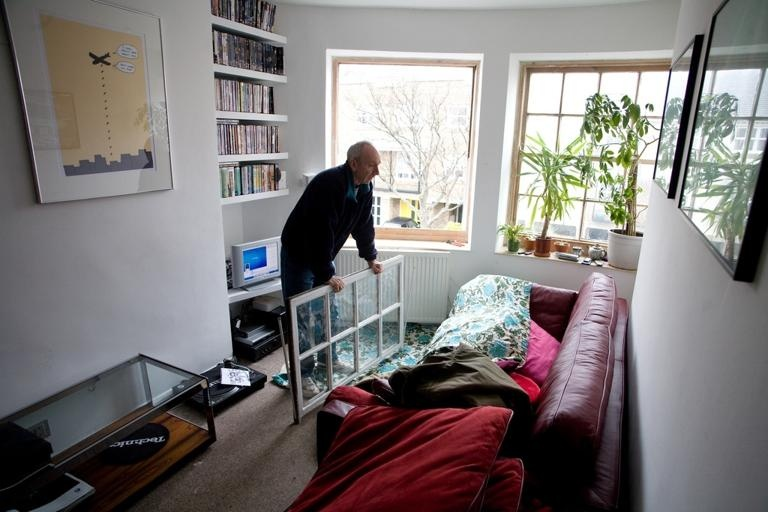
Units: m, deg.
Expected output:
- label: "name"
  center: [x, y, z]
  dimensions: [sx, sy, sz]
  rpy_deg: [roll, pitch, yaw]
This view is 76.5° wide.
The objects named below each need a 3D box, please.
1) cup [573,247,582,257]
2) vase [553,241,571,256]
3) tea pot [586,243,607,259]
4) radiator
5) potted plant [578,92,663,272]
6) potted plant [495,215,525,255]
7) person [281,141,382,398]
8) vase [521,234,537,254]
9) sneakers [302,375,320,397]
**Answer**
- label: "cup"
  center: [1.798, -0.035, 4.555]
  dimensions: [0.100, 0.099, 0.061]
  rpy_deg: [4, 9, 20]
- label: "vase"
  center: [1.709, -0.073, 4.657]
  dimensions: [0.130, 0.089, 0.129]
  rpy_deg: [0, 3, 3]
- label: "tea pot"
  center: [1.940, -0.047, 4.486]
  dimensions: [0.154, 0.122, 0.121]
  rpy_deg: [13, 20, 41]
- label: "radiator"
  center: [0.157, 0.291, 4.685]
  dimensions: [1.129, 0.747, 0.111]
  rpy_deg: [5, -27, -34]
- label: "potted plant"
  center: [1.998, -0.658, 4.308]
  dimensions: [0.628, 1.466, 0.604]
  rpy_deg: [9, 16, 25]
- label: "potted plant"
  center: [1.177, -0.168, 4.690]
  dimensions: [0.294, 0.274, 0.291]
  rpy_deg: [0, 5, 1]
- label: "person"
  center: [-0.448, 0.101, 3.886]
  dimensions: [0.758, 2.014, 0.763]
  rpy_deg: [19, 26, 27]
- label: "vase"
  center: [1.384, -0.113, 4.673]
  dimensions: [0.159, 0.179, 0.160]
  rpy_deg: [3, 5, 29]
- label: "sneakers"
  center: [-0.532, 0.952, 3.594]
  dimensions: [0.167, 0.148, 0.101]
  rpy_deg: [-2, 13, -3]
